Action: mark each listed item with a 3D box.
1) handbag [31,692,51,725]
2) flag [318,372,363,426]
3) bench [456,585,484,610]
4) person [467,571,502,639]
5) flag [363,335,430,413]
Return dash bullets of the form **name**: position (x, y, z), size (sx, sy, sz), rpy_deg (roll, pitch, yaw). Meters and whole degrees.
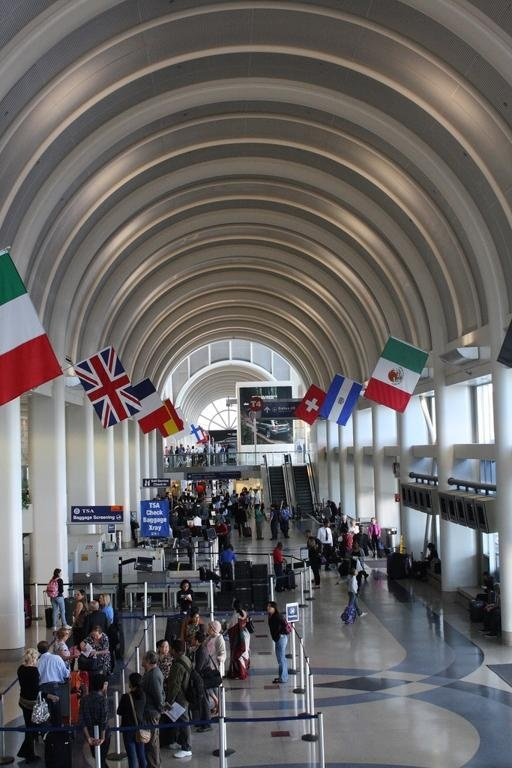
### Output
- **handbag**: position (-2.401, 3.633, 6.977), size (0.172, 0.371, 0.376), rpy_deg (1, -9, -20)
- **flag**: position (3.448, 0.614, 25.463), size (0.839, 2.135, 2.221), rpy_deg (0, -9, -15)
- **bench**: position (5.506, 5.513, 16.147), size (0.641, 0.468, 0.947), rpy_deg (0, -6, 3)
- **person**: position (5.160, 4.949, 14.155), size (0.652, 1.126, 1.865), rpy_deg (-5, -9, 16)
- **flag**: position (3.538, -0.277, 15.988), size (1.431, 1.918, 0.445), rpy_deg (-4, -8, 7)
